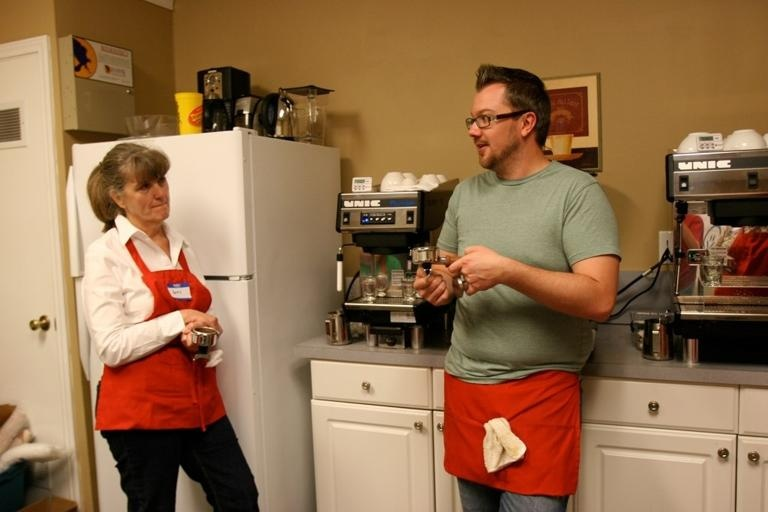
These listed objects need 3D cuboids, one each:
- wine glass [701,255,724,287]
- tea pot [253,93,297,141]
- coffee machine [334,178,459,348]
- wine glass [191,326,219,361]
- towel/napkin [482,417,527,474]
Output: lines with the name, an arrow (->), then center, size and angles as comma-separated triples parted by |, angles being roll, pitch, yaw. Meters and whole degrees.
wine glass -> 1.501, 0.072, 2.927 | 0.090, 0.131, 0.093 | -2, -1, 22
tea pot -> -0.579, -0.753, 3.499 | 0.194, 0.246, 0.208 | 5, 12, -1
coffee machine -> 0.033, 0.002, 3.237 | 0.566, 0.830, 0.508 | 4, 10, 27
wine glass -> -0.769, 0.364, 2.723 | 0.110, 0.151, 0.188 | -3, 7, -21
towel/napkin -> 0.469, 0.700, 2.484 | 0.172, 0.197, 0.164 | 3, 7, 17
